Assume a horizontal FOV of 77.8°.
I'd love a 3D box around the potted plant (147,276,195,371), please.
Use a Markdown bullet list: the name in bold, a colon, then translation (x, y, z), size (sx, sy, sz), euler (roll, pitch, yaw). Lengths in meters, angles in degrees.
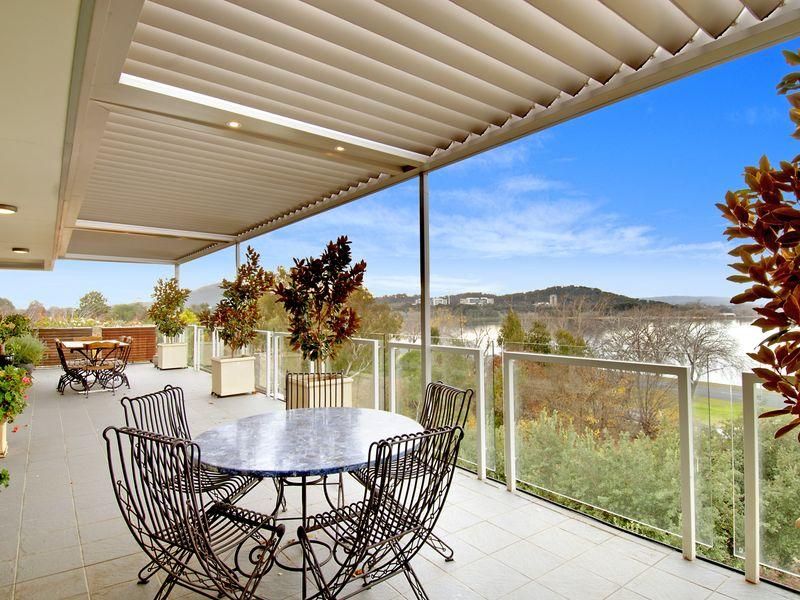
- **potted plant**: translation (-5.829, 0.599, 12.569), size (0.911, 2.289, 1.377), euler (1, -3, -24)
